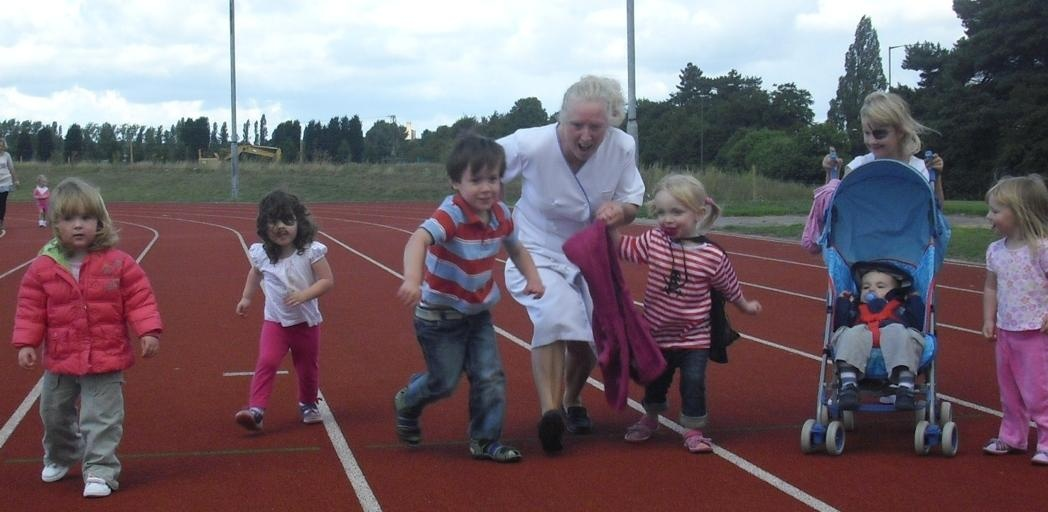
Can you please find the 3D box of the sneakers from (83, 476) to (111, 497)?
[{"bbox_3d":[-4.515,2.432,9.182,0.324,0.127,0.141,3,30,4],"label":"sneakers"}]

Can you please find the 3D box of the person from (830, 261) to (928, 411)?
[{"bbox_3d":[4.195,0.787,10.316,1.098,0.780,2.124,1,32,28],"label":"person"}]

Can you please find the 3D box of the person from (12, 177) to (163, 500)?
[{"bbox_3d":[-4.709,0.841,9.348,1.396,3.317,0.688,3,7,11],"label":"person"}]

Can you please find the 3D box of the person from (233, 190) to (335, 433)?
[{"bbox_3d":[-2.891,0.616,10.498,1.076,2.802,0.801,0,7,-17],"label":"person"}]

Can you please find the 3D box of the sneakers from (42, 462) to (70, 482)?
[{"bbox_3d":[-5.020,2.338,9.407,0.392,0.130,0.170,-5,-12,-5],"label":"sneakers"}]

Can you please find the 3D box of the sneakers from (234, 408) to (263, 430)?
[{"bbox_3d":[-3.248,1.927,10.279,0.312,0.288,0.261,-1,7,-24],"label":"sneakers"}]
